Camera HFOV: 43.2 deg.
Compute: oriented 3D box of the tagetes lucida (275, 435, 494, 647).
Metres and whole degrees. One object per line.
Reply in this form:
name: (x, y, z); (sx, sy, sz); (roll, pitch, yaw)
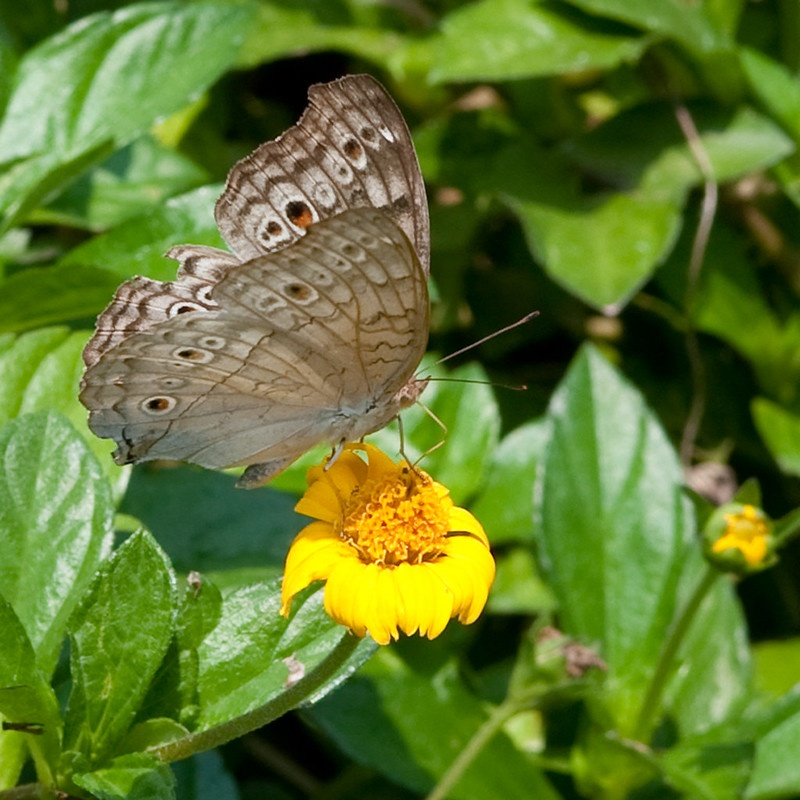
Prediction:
tagetes lucida: (-0.018, 0.185, 1.491); (0.400, 0.143, 0.273); (-5, 66, 29)
